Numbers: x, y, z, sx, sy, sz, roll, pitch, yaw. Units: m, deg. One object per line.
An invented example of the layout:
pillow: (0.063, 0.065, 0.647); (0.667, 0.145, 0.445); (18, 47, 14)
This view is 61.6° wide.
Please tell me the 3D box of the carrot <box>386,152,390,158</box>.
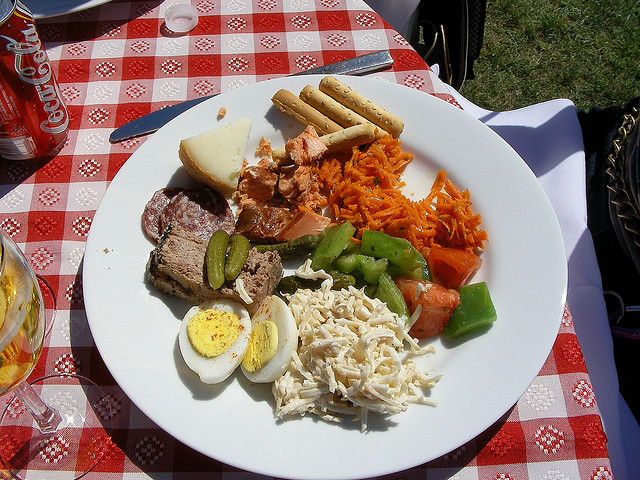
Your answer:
carrot: (0.452, -0.568, 3.572); (0.026, 0.010, 0.029); (29, 66, 21)

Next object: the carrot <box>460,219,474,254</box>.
carrot: (0.911, -0.018, 3.336); (0.051, 0.028, 0.260); (-24, 94, -48)

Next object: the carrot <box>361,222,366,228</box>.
carrot: (0.284, -0.096, 3.479); (0.027, 0.007, 0.032); (3, 82, 8)

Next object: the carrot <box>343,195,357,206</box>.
carrot: (0.198, -0.261, 3.515); (0.088, 0.041, 0.032); (-28, 81, -7)

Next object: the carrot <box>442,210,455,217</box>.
carrot: (0.817, -0.171, 3.399); (0.040, 0.039, 0.012); (38, 50, -29)

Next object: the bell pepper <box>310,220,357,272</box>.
bell pepper: (0.082, 0.014, 3.369); (0.181, 0.122, 0.357); (22, 64, 26)

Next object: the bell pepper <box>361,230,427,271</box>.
bell pepper: (0.435, 0.068, 3.246); (0.346, 0.115, 0.225); (14, 95, 9)

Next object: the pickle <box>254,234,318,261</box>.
pickle: (-0.206, 0.057, 3.386); (0.392, 0.135, 0.128); (-9, 80, -5)

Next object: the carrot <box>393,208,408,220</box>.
carrot: (0.518, -0.166, 3.431); (0.085, 0.029, 0.062); (-14, 81, -5)

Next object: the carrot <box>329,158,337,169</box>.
carrot: (0.088, -0.522, 3.649); (0.023, 0.007, 0.105); (4, 46, 9)

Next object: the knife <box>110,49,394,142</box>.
knife: (-0.497, -0.982, 3.715); (2.107, 0.124, 0.303); (-14, 62, -9)

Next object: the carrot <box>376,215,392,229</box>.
carrot: (0.411, -0.106, 3.423); (0.122, 0.034, 0.024); (-37, 82, -8)

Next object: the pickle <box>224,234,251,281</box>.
pickle: (-0.505, 0.099, 3.284); (0.157, 0.121, 0.425); (-1, 33, -1)

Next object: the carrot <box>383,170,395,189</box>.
carrot: (0.444, -0.392, 3.516); (0.059, 0.027, 0.122); (-6, 106, 23)

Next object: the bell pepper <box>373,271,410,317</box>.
bell pepper: (0.424, 0.331, 3.214); (0.193, 0.154, 0.237); (-8, 109, -26)

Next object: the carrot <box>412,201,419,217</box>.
carrot: (0.611, -0.195, 3.441); (0.022, 0.025, 0.105); (12, 57, -27)

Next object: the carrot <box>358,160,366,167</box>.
carrot: (0.283, -0.511, 3.567); (0.041, 0.012, 0.047); (3, 87, 14)

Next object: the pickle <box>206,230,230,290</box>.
pickle: (-0.625, 0.117, 3.233); (0.122, 0.136, 0.470); (11, 38, -14)

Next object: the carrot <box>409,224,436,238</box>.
carrot: (0.656, -0.045, 3.418); (0.094, 0.039, 0.097); (16, 26, 26)

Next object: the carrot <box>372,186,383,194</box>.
carrot: (0.379, -0.323, 3.528); (0.066, 0.054, 0.051); (-7, 79, -4)

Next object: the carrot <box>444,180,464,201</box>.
carrot: (0.854, -0.322, 3.459); (0.076, 0.040, 0.134); (-16, 69, -18)

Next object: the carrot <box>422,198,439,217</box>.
carrot: (0.708, -0.199, 3.492); (0.165, 0.044, 0.050); (43, 95, 19)

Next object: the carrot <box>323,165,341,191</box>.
carrot: (0.081, -0.420, 3.603); (0.101, 0.031, 0.151); (23, 83, -45)
